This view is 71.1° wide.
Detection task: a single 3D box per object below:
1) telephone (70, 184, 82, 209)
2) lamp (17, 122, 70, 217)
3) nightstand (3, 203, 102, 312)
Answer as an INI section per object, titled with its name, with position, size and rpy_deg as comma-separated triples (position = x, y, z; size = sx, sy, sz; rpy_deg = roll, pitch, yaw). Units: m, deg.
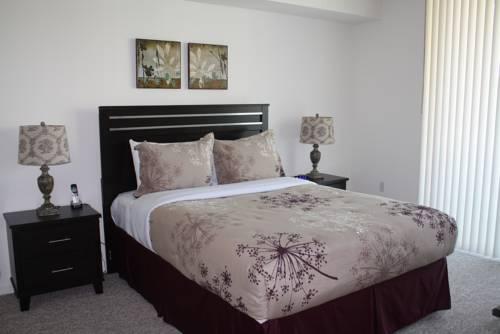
[telephone]
position = -1.800, 0.294, 3.592
size = 0.091, 0.241, 0.077
rpy_deg = -9, 5, -30
[lamp]
position = -1.963, 0.016, 3.342
size = 0.444, 0.886, 0.284
rpy_deg = -6, 9, -18
[nightstand]
position = -1.847, 0.741, 3.663
size = 1.113, 1.143, 0.799
rpy_deg = -4, 6, -32
